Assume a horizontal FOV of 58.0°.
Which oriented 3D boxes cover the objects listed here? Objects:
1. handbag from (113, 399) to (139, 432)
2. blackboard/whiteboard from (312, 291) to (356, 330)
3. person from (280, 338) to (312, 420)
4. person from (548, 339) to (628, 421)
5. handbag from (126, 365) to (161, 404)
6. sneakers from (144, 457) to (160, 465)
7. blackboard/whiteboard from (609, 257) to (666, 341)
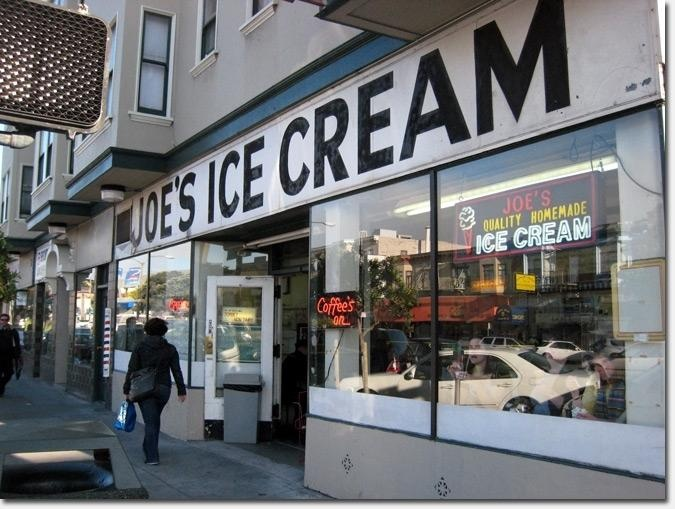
[{"bbox_3d":[-2.963,2.243,8.479,0.229,0.496,0.786,1,-8,-15],"label":"handbag"},{"bbox_3d":[-0.026,0.670,7.376,0.021,0.415,0.828,5,-10,-39],"label":"blackboard/whiteboard"},{"bbox_3d":[-0.752,2.176,10.415,0.437,1.395,0.438,-1,-7,1],"label":"person"},{"bbox_3d":[2.164,1.049,5.168,0.478,0.997,0.597,7,-13,-18],"label":"person"},{"bbox_3d":[-2.713,1.816,8.455,0.383,0.419,0.158,-11,-29,15],"label":"handbag"},{"bbox_3d":[-2.620,2.867,8.452,0.289,0.072,0.171,-3,-8,14],"label":"sneakers"},{"bbox_3d":[2.318,0.343,4.652,0.074,0.832,0.535,8,-10,-38],"label":"blackboard/whiteboard"}]
